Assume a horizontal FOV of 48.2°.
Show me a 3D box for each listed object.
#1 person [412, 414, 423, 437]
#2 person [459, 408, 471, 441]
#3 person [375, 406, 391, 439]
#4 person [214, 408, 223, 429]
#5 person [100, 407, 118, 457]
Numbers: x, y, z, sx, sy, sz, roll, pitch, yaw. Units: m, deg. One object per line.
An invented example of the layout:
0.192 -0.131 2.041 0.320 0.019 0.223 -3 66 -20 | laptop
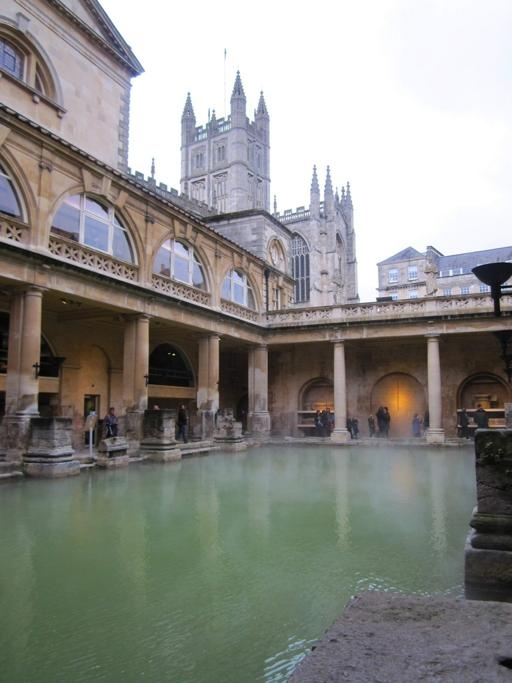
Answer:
8.805 4.595 31.199 0.499 1.221 1.229 -2 -7 15 | person
10.890 4.234 29.845 0.590 1.472 1.220 -2 -7 21 | person
6.845 4.333 30.773 0.597 1.596 1.191 -2 -7 15 | person
-1.518 3.151 23.076 0.421 0.846 0.821 -1 -5 10 | person
-4.225 2.519 16.464 0.398 1.178 2.800 2 -7 -14 | person
